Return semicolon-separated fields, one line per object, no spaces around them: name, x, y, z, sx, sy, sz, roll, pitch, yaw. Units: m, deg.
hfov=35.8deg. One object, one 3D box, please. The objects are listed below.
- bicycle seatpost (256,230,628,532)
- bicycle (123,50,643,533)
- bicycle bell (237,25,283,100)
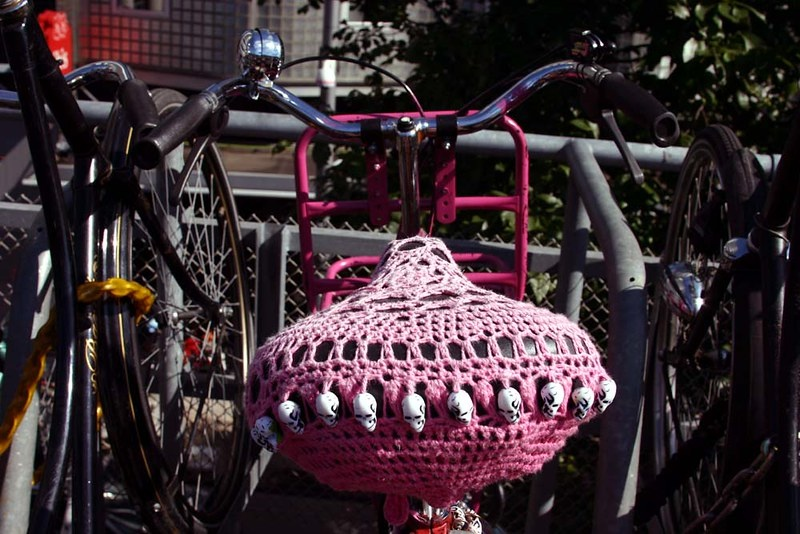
bicycle seatpost;0.110;0.287;3.923;0.711;0.804;0.813;-3;-4;21
bicycle;-0.056;0.099;4.518;1.316;1.636;1.537;1;-2;-9
bicycle bell;-0.513;-0.732;4.276;0.143;0.311;0.208;-2;16;-26
